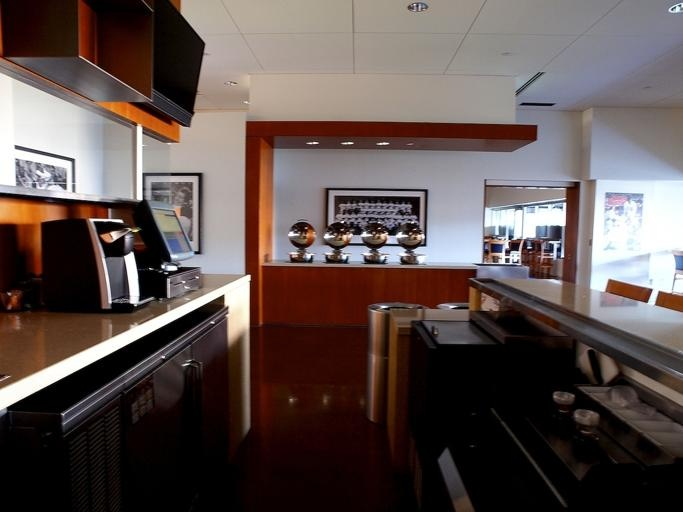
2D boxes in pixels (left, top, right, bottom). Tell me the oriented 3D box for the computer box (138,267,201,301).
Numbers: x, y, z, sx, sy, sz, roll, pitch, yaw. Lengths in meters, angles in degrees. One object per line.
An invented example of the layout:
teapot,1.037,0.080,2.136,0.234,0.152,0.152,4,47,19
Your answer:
computer box,-0.877,0.128,2.638,0.167,0.151,0.439,2,8,10

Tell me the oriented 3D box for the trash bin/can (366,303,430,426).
trash bin/can,0.342,0.721,3.469,0.339,0.825,0.553,1,8,0

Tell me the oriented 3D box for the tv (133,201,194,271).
tv,-0.929,-0.147,2.887,0.305,0.465,0.461,-2,9,2
